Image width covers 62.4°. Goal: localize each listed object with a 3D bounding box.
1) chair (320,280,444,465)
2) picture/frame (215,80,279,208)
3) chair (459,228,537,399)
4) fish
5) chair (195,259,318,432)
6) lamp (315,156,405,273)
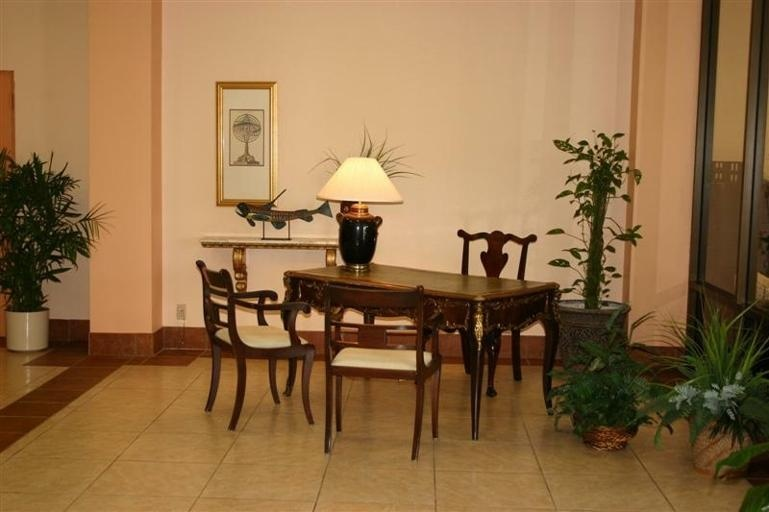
[{"bbox_3d":[-0.054,0.771,4.610,0.854,1.222,0.826,2,3,23],"label":"chair"},{"bbox_3d":[-1.380,-1.125,6.393,0.619,1.227,0.290,-2,13,-9],"label":"picture/frame"},{"bbox_3d":[1.051,0.471,5.652,0.895,1.455,0.930,0,-1,41],"label":"chair"},{"bbox_3d":[-1.002,-0.459,6.292,0.927,0.412,0.202,4,29,-7],"label":"fish"},{"bbox_3d":[-1.031,0.675,5.029,0.859,1.213,0.825,0,5,-41],"label":"chair"},{"bbox_3d":[-0.218,-0.346,5.548,0.895,1.123,0.872,2,3,3],"label":"lamp"}]
